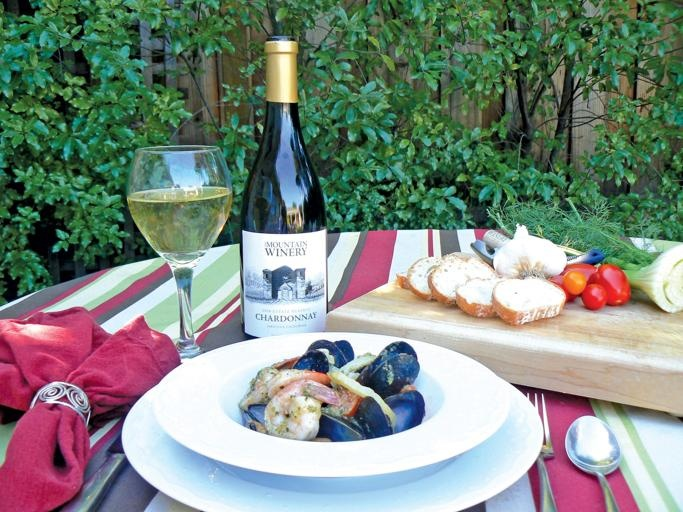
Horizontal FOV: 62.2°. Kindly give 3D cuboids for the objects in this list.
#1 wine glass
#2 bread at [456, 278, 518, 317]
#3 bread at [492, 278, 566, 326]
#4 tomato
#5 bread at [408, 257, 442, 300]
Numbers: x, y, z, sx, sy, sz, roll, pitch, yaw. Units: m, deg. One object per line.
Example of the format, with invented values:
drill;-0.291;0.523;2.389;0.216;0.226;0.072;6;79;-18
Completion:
wine glass;-0.351;0.016;1.305;0.170;0.534;0.188;-4;9;-3
bread;0.325;0.080;1.280;0.096;0.087;0.106;-4;8;-26
bread;0.408;0.087;1.271;0.142;0.111;0.135;0;3;-5
tomato;0.596;0.071;1.390;0.165;0.112;0.130;1;4;-20
bread;0.200;0.052;1.411;0.086;0.024;0.100;14;56;-5
